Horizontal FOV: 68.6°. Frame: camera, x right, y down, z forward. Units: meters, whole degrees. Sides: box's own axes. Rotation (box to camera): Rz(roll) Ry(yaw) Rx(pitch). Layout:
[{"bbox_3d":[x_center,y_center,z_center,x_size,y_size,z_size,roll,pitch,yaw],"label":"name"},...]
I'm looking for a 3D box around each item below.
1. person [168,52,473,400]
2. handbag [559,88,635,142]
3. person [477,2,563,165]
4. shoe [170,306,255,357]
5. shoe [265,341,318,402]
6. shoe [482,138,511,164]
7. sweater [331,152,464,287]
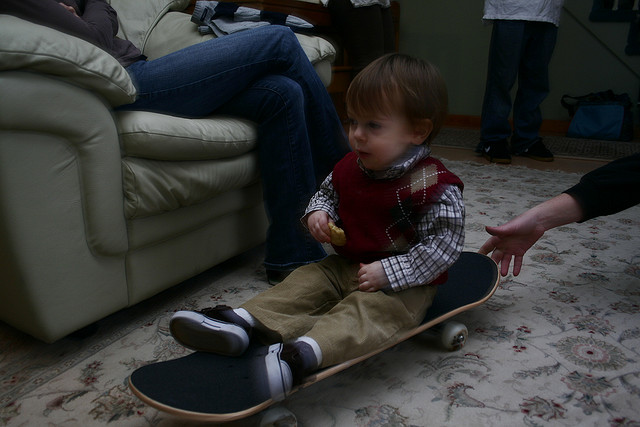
[{"bbox_3d":[0.041,-0.032,1.171,0.474,0.784,0.794,14,13,43],"label":"person"},{"bbox_3d":[2.165,-0.748,3.687,0.399,0.408,0.573,0,13,14],"label":"handbag"},{"bbox_3d":[1.195,-0.758,2.813,0.436,0.905,0.501,0,31,5],"label":"person"},{"bbox_3d":[-0.248,0.274,1.138,0.199,0.093,0.105,6,36,19],"label":"shoe"},{"bbox_3d":[-0.062,0.351,1.069,0.063,0.075,0.167,7,9,32],"label":"shoe"},{"bbox_3d":[1.097,-0.406,2.945,0.115,0.144,0.341,-1,18,-4],"label":"shoe"},{"bbox_3d":[0.196,0.021,1.214,0.289,0.279,0.158,12,17,34],"label":"sweater"}]
